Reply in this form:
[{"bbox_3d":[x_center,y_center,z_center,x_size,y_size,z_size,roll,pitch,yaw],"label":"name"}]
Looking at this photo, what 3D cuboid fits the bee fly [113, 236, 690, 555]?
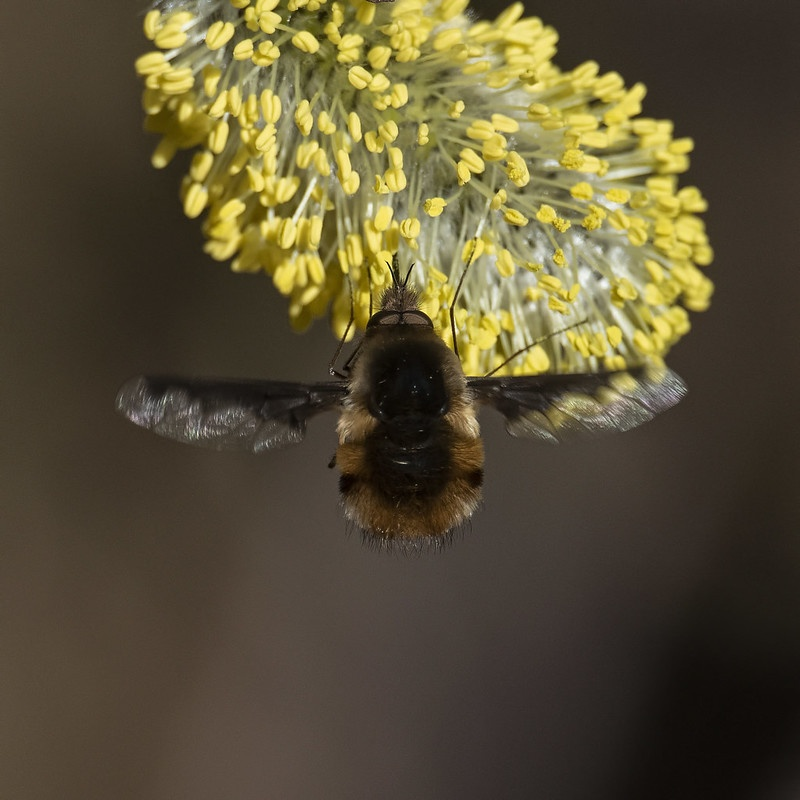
[{"bbox_3d":[0.021,-0.038,1.049,0.719,0.163,0.297,0,-83,-3],"label":"bee fly"}]
